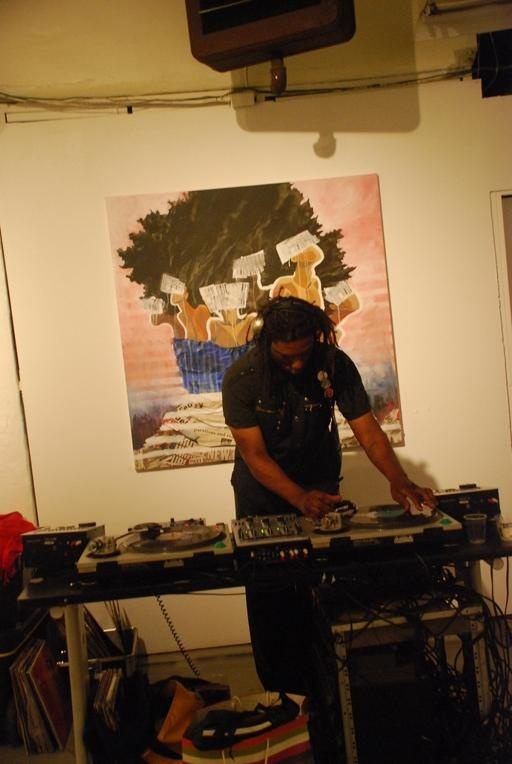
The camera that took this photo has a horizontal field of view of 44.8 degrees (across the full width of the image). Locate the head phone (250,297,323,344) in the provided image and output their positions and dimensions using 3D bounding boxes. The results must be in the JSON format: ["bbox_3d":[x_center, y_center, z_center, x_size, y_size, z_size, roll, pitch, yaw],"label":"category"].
[{"bbox_3d":[0.108,-0.207,2.108,0.168,0.092,0.194,-3,-2,-10],"label":"head phone"}]

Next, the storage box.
[{"bbox_3d":[-0.566,1.006,2.329,0.262,0.164,0.259,-1,-6,-12],"label":"storage box"}]

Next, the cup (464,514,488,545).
[{"bbox_3d":[0.680,0.458,1.929,0.075,0.077,0.076,-3,-2,0],"label":"cup"}]
